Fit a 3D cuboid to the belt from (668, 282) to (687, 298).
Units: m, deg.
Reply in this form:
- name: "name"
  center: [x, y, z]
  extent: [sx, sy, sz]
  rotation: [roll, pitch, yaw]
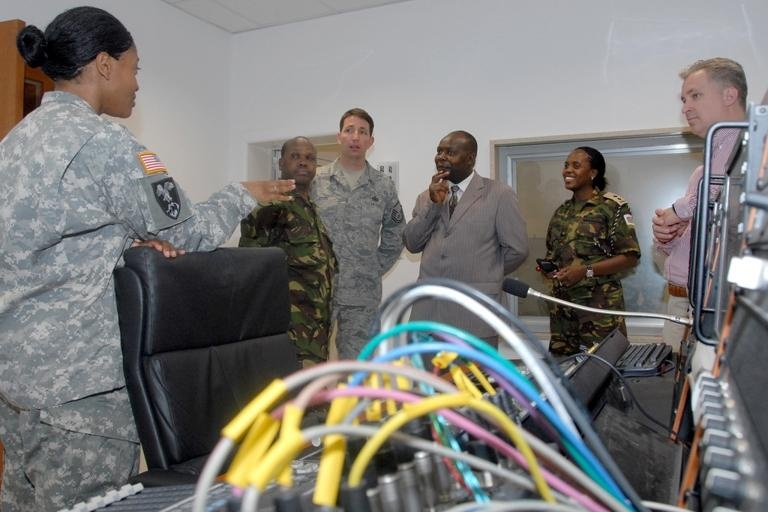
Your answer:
- name: "belt"
  center: [1.517, 0.172, 2.726]
  extent: [0.110, 0.051, 0.136]
  rotation: [4, 7, -3]

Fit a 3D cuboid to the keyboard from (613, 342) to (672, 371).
- name: "keyboard"
  center: [0.879, 0.336, 1.780]
  extent: [0.127, 0.030, 0.426]
  rotation: [0, 4, 32]

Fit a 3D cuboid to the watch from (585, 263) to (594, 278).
- name: "watch"
  center: [1.264, 0.092, 3.248]
  extent: [0.048, 0.076, 0.069]
  rotation: [-2, 24, 8]
